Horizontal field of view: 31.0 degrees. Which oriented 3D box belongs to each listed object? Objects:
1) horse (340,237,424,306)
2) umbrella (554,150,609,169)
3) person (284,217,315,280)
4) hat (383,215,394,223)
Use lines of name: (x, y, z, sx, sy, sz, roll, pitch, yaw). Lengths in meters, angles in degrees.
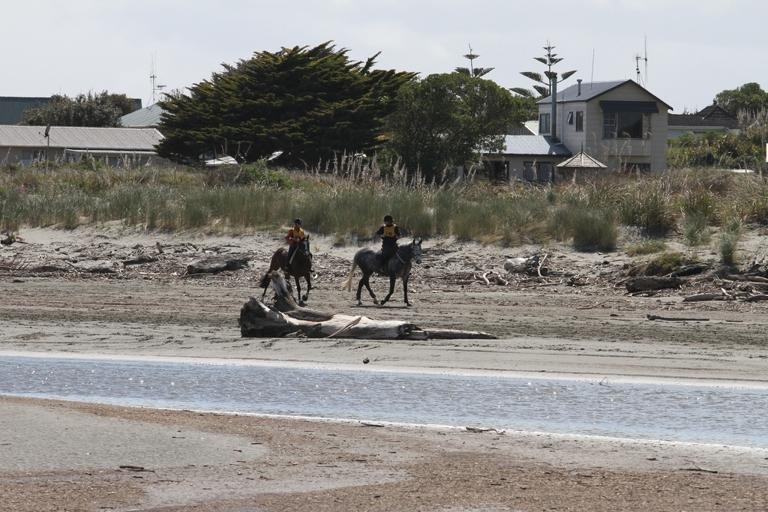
horse: (-0.012, 0.503, 38.684, 2.664, 1.818, 0.686, -3, -4, 32)
umbrella: (9.315, -4.562, 65.303, 2.245, 0.812, 2.088, 2, 5, 13)
person: (-2.429, -0.425, 39.113, 0.604, 1.302, 0.685, -1, 15, -4)
hat: (0.100, -1.040, 38.701, 0.187, 0.247, 0.248, 2, 25, 11)
